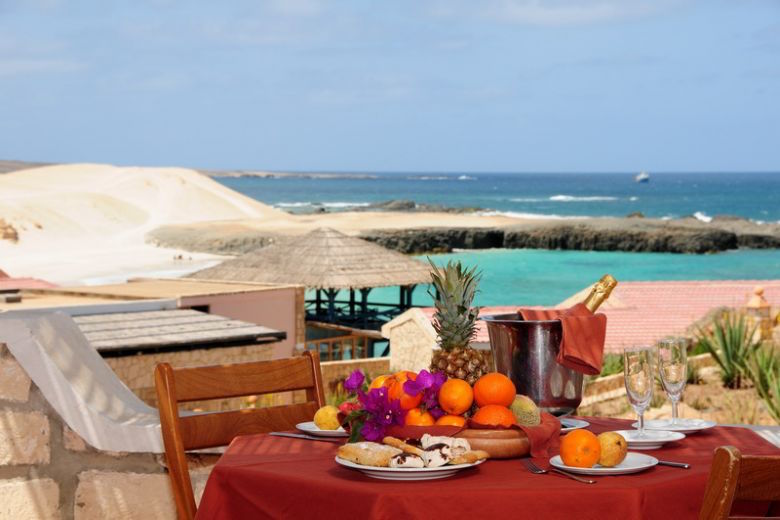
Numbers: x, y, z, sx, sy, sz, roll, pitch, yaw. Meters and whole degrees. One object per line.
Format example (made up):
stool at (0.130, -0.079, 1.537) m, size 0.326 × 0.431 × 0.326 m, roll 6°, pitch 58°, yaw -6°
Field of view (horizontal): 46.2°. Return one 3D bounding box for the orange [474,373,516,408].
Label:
orange at (0.426, 0.533, 3.777) m, size 0.152 × 0.133 × 0.138 m, roll 0°, pitch -3°, yaw -18°

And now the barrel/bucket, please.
barrel/bucket at (0.702, 0.501, 4.210) m, size 0.512 × 0.464 × 0.534 m, roll 1°, pitch 2°, yaw 0°

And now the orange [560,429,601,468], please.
orange at (0.726, 0.741, 3.540) m, size 0.174 × 0.155 × 0.169 m, roll 4°, pitch -20°, yaw -20°

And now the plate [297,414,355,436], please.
plate at (-0.271, 0.720, 3.971) m, size 0.166 × 0.023 × 0.160 m, roll 2°, pitch 1°, yaw -37°

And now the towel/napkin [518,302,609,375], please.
towel/napkin at (0.778, 0.345, 4.130) m, size 0.336 × 0.309 × 0.140 m, roll 3°, pitch 0°, yaw -36°

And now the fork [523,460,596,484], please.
fork at (0.645, 0.804, 3.446) m, size 0.267 × 0.038 × 0.043 m, roll 4°, pitch 42°, yaw 37°

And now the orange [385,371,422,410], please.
orange at (0.056, 0.532, 3.768) m, size 0.155 × 0.142 × 0.147 m, roll -1°, pitch 2°, yaw -16°

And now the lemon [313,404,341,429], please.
lemon at (-0.278, 0.692, 4.036) m, size 0.112 × 0.095 × 0.102 m, roll 0°, pitch -2°, yaw 1°

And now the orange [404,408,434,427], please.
orange at (0.127, 0.630, 3.681) m, size 0.076 × 0.070 × 0.071 m, roll 12°, pitch -1°, yaw -8°

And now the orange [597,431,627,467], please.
orange at (0.867, 0.745, 3.535) m, size 0.126 × 0.132 × 0.113 m, roll 12°, pitch 52°, yaw 13°

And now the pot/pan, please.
pot/pan at (0.695, 0.450, 4.188) m, size 0.488 × 0.341 × 0.437 m, roll -2°, pitch 6°, yaw 2°

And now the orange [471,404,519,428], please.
orange at (0.409, 0.627, 3.639) m, size 0.127 × 0.090 × 0.096 m, roll -3°, pitch -4°, yaw 9°

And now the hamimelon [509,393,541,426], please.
hamimelon at (0.552, 0.622, 3.742) m, size 0.136 × 0.073 × 0.089 m, roll 27°, pitch 20°, yaw 26°

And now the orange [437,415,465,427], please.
orange at (0.252, 0.642, 3.648) m, size 0.058 × 0.052 × 0.054 m, roll 1°, pitch 17°, yaw -14°

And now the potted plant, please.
potted plant at (3.416, 1.125, 9.195) m, size 0.893 × 1.030 × 0.794 m, roll -10°, pitch 1°, yaw 6°

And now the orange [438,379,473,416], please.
orange at (0.263, 0.555, 3.693) m, size 0.142 × 0.142 × 0.150 m, roll 4°, pitch -8°, yaw -23°

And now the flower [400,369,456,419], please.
flower at (0.149, 0.536, 3.706) m, size 0.199 × 0.182 × 0.089 m, roll 16°, pitch -7°, yaw -19°
